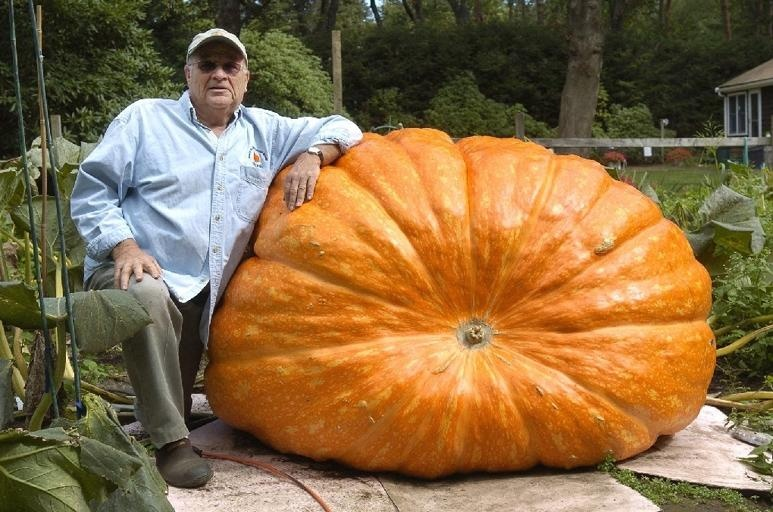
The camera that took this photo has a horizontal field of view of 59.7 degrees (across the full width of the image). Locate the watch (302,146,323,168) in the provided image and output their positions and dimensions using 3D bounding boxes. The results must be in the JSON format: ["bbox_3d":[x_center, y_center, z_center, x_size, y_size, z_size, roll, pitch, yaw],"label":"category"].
[{"bbox_3d":[-0.428,-0.574,3.922,0.093,0.097,0.071,23,49,12],"label":"watch"}]
